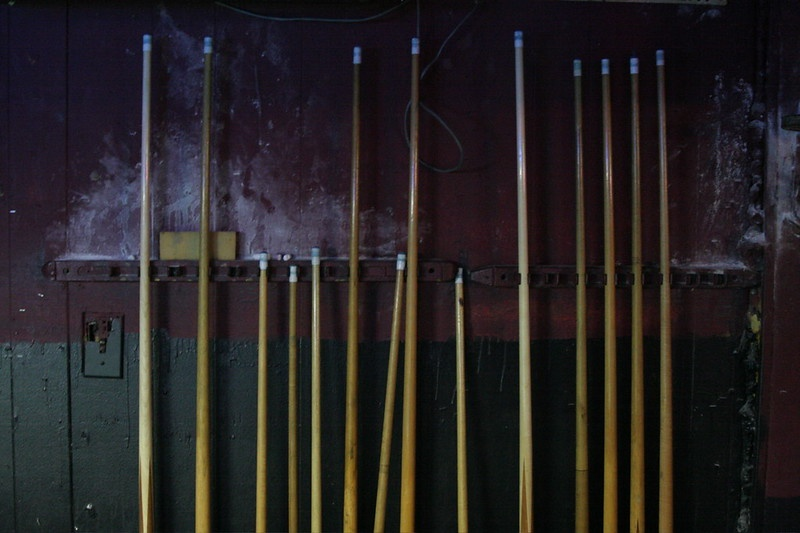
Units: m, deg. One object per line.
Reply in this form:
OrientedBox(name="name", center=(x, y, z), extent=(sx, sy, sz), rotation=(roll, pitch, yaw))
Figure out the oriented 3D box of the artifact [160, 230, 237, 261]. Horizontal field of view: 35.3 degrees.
OrientedBox(name="artifact", center=(-0.850, -0.085, 5.327), extent=(0.306, 0.127, 0.059), rotation=(-1, 0, 1))
